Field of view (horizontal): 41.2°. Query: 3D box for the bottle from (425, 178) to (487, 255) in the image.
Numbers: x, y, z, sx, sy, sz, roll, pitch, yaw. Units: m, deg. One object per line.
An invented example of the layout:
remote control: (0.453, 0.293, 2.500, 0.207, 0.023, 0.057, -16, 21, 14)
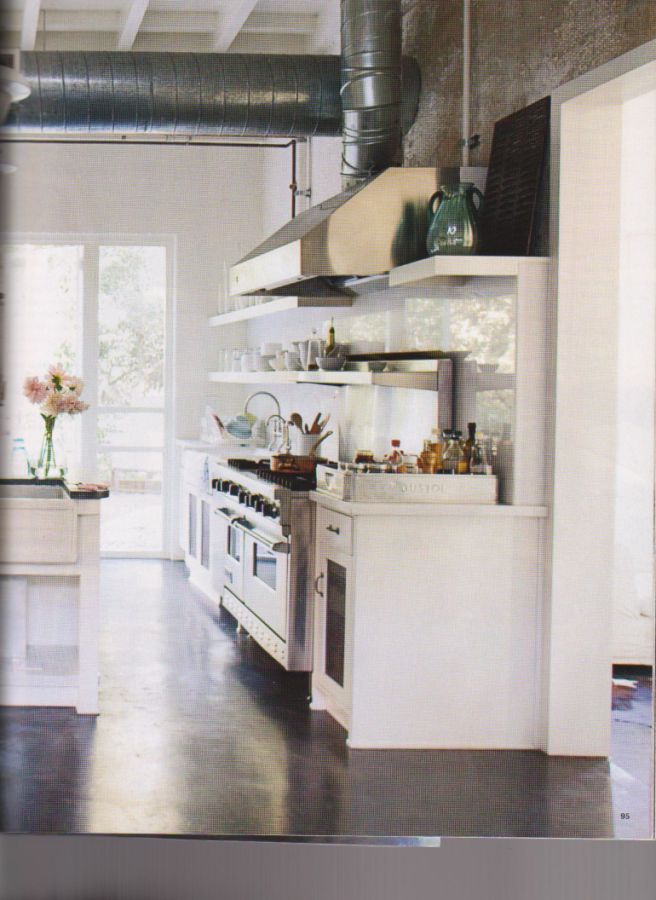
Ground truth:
bottle: (0.359, -0.713, 2.710, 0.216, 0.274, 0.202, 0, 6, 0)

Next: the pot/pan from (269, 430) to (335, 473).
pot/pan: (-0.105, 0.005, 3.618, 0.143, 0.183, 0.253, 1, 0, -24)

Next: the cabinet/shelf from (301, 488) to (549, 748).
cabinet/shelf: (0.306, 0.473, 2.992, 0.667, 0.869, 0.914, 2, -1, 0)

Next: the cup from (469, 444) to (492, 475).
cup: (0.473, 0.030, 2.729, 0.081, 0.156, 0.083, -1, 0, 0)

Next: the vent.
vent: (0.044, -0.715, 2.882, 0.717, 0.417, 0.249, 4, 1, -5)

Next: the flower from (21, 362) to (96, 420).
flower: (-0.766, -0.164, 2.477, 0.096, 0.120, 0.249, 4, 1, 5)

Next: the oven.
oven: (-0.243, 0.534, 3.251, 0.211, 0.394, 0.595, 1, 3, -5)
